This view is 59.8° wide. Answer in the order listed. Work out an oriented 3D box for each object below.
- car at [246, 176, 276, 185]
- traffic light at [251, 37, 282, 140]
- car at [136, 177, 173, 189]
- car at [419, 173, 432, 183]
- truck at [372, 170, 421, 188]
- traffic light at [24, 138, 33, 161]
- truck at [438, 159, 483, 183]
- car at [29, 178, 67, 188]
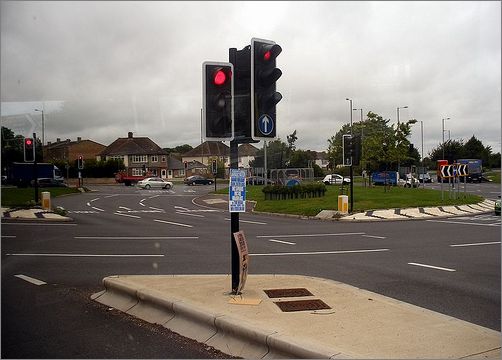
[{"bbox_3d":[0.948,0.228,62.493,2.982,1.140,1.473,-1,2,1],"label":"car"},{"bbox_3d":[0.316,-1.967,9.405,0.666,2.219,0.339,-1,1,-7],"label":"traffic light"},{"bbox_3d":[-13.622,0.471,61.771,4.103,1.495,1.572,-1,0,-27],"label":"car"},{"bbox_3d":[26.828,-0.315,67.461,1.350,1.219,3.138,-1,-5,23],"label":"car"},{"bbox_3d":[18.962,-0.099,56.877,4.697,2.017,2.014,4,3,35],"label":"truck"},{"bbox_3d":[-14.051,-1.955,27.549,0.544,1.010,1.257,-1,0,-27],"label":"traffic light"},{"bbox_3d":[19.275,-0.806,39.757,3.841,2.060,1.389,2,4,39],"label":"truck"},{"bbox_3d":[-23.885,0.324,51.859,2.517,1.235,1.294,-3,7,-32],"label":"car"}]
